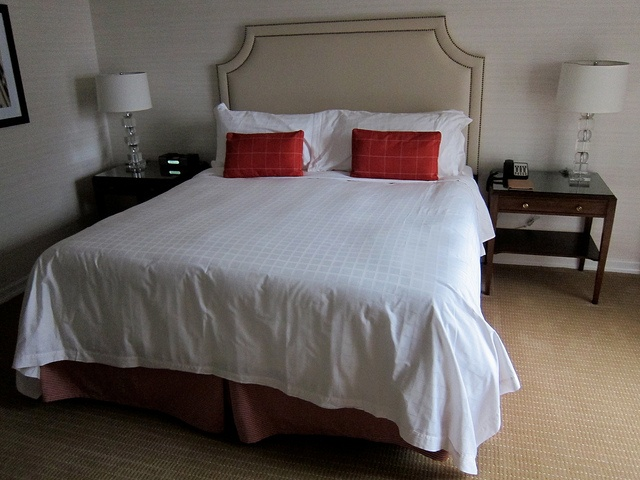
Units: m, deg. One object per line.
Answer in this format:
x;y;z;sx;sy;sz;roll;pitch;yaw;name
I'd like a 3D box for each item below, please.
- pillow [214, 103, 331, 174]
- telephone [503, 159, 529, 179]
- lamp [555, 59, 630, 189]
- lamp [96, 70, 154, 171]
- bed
-0.360;-0.794;3.923;0.566;0.418;0.156;-1;-14;11;pillow
1.483;-0.551;3.742;0.154;0.167;0.155;8;34;17;telephone
1.931;-0.866;3.616;0.428;0.859;0.466;7;21;18;lamp
-1.729;-1.073;4.459;0.401;0.859;0.401;-17;27;-31;lamp
-0.095;-0.159;3.167;1.789;1.515;2.210;5;36;13;bed
